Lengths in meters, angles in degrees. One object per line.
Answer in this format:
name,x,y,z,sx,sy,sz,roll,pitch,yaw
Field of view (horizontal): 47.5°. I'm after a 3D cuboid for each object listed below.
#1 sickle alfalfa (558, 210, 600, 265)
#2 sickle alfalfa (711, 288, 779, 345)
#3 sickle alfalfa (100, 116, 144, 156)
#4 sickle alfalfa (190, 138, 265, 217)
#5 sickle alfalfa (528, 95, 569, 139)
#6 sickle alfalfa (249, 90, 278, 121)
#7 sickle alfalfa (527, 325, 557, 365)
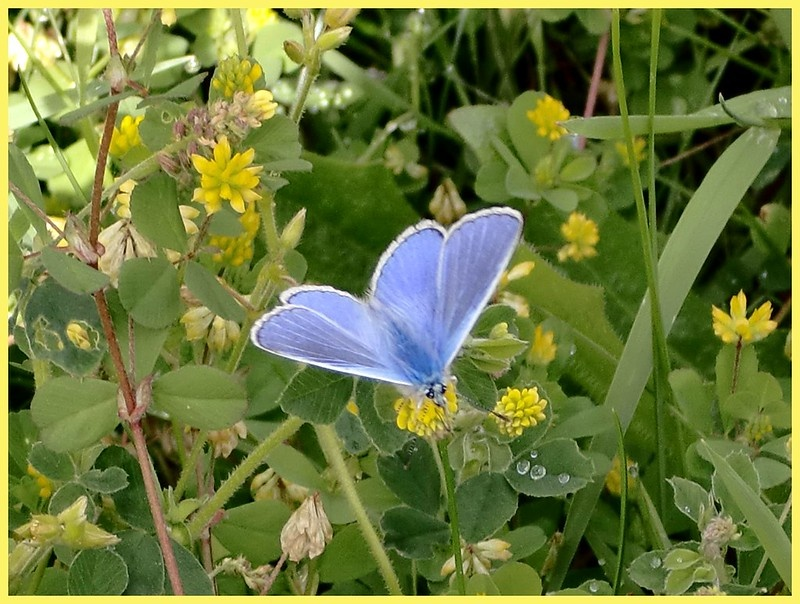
sickle alfalfa,0.322,-0.112,1.634,0.068,0.090,0.038,2,18,13
sickle alfalfa,0.533,0.045,1.412,0.081,0.053,0.097,-20,64,18
sickle alfalfa,-0.404,-0.245,1.356,0.062,0.033,0.067,4,58,3
sickle alfalfa,-0.223,-0.158,1.169,0.077,0.104,0.031,-2,8,-11
sickle alfalfa,0.263,-0.325,1.630,0.071,0.078,0.037,6,30,26
sickle alfalfa,-0.180,-0.259,1.192,0.036,0.041,0.014,-25,-24,35
sickle alfalfa,0.227,0.068,1.444,0.047,0.060,0.021,-6,14,-23
